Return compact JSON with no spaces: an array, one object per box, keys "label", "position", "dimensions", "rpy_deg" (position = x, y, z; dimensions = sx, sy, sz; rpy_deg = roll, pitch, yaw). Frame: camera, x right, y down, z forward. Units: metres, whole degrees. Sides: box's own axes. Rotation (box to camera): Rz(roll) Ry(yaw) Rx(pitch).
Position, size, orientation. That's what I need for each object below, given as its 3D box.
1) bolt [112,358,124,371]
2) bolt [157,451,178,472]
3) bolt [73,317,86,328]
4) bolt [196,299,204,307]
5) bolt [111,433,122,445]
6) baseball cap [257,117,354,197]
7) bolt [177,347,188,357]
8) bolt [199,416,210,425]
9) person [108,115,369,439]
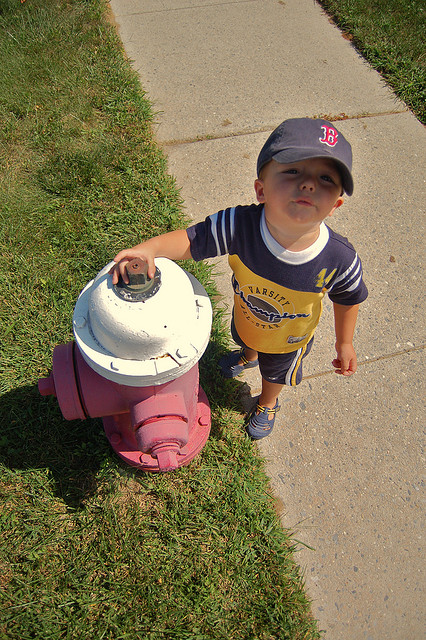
[{"label":"bolt","position":[-0.275,0.127,1.725],"dimensions":[0.031,0.007,0.031],"rpy_deg":[-15,47,-18]},{"label":"bolt","position":[-0.145,0.451,1.946],"dimensions":[0.070,0.068,0.075],"rpy_deg":[-4,28,-17]},{"label":"bolt","position":[-0.413,0.006,1.802],"dimensions":[0.031,0.007,0.028],"rpy_deg":[-2,58,1]},{"label":"bolt","position":[-0.040,-0.055,1.836],"dimensions":[0.028,0.027,0.015],"rpy_deg":[-17,-6,33]},{"label":"bolt","position":[-0.379,0.464,2.316],"dimensions":[0.036,0.025,0.040],"rpy_deg":[24,44,25]},{"label":"baseball cap","position":[0.288,-0.505,1.815],"dimensions":[0.296,0.198,0.177],"rpy_deg":[5,40,3]},{"label":"bolt","position":[-0.082,0.093,1.733],"dimensions":[0.028,0.006,0.025],"rpy_deg":[-7,68,-21]},{"label":"bolt","position":[-0.035,0.407,2.413],"dimensions":[0.035,0.018,0.040],"rpy_deg":[12,40,12]},{"label":"person","position":[0.141,-0.091,2.258],"dimensions":[0.970,1.294,0.487],"rpy_deg":[16,48,10]}]
